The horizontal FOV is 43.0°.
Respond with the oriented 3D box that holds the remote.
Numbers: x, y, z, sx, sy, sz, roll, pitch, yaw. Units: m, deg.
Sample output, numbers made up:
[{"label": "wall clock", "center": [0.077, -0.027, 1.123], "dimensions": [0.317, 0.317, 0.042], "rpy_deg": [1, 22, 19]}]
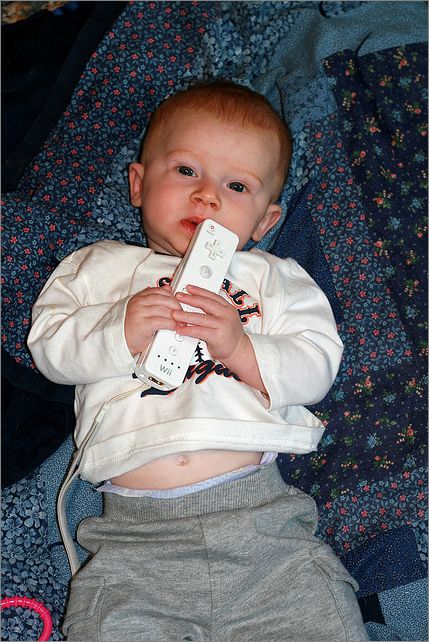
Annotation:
[{"label": "remote", "center": [-0.025, -0.041, 0.898], "dimensions": [0.099, 0.088, 0.332], "rpy_deg": [23, 80, -17]}]
